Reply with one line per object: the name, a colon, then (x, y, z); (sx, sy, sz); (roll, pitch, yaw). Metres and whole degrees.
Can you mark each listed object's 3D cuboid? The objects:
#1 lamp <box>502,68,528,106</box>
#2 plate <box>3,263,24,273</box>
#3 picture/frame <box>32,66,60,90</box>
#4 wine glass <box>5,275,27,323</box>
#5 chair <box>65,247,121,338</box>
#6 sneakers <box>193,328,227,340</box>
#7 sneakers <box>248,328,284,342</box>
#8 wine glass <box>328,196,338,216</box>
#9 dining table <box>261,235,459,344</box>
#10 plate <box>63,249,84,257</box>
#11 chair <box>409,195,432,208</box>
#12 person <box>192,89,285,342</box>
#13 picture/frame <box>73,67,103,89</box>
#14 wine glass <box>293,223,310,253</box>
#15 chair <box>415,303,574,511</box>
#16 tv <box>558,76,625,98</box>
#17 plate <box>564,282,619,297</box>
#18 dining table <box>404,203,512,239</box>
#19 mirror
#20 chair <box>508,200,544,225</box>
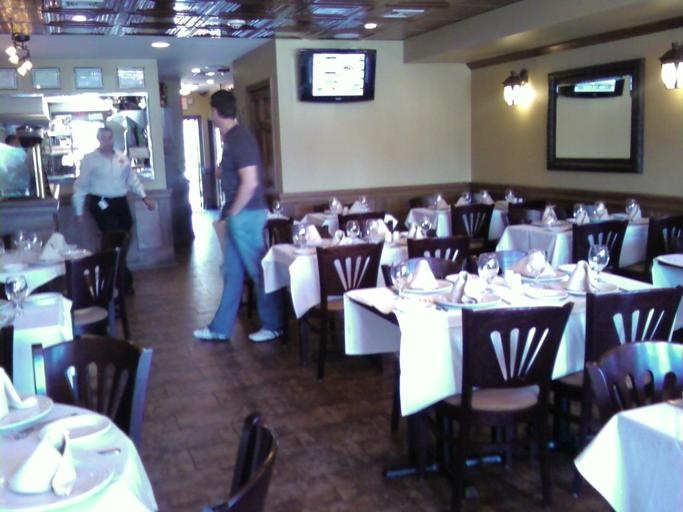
lamp: (2.249, -2.161, 7.278); (0.327, 0.547, 0.375); (1, 7, 0)
plate: (-2.282, 0.076, 3.910); (0.131, 0.031, 0.288); (-8, 12, -32)
picture/frame: (-3.945, -2.362, 7.457); (0.298, 0.284, 0.030); (0, 7, -28)
wine glass: (-1.603, 0.208, 2.783); (0.112, 0.214, 0.072); (3, -5, -18)
chair: (-1.710, 0.297, 3.904); (0.334, 0.668, 0.626); (-5, 11, -23)
sneakers: (-1.152, 0.694, 4.934); (0.271, 0.098, 0.124); (8, 9, 5)
sneakers: (-0.665, 0.695, 4.864); (0.225, 0.108, 0.121); (3, -1, -17)
wine glass: (-0.096, -0.549, 6.273); (0.144, 0.188, 0.063); (13, -19, -40)
dining table: (0.121, 0.190, 3.651); (0.738, 0.400, 0.642); (-5, 9, -29)
plate: (-2.022, -0.013, 4.259); (0.107, 0.054, 0.111); (0, -2, -18)
chair: (0.982, -0.677, 7.117); (0.186, 0.251, 0.201); (-4, 5, -22)
person: (-0.868, -0.287, 4.672); (0.674, 2.110, 0.576); (-4, 10, -16)
picture/frame: (-3.464, -2.412, 7.624); (0.286, 0.267, 0.041); (5, 4, -24)
wine glass: (-0.341, -0.143, 4.356); (0.168, 0.311, 0.184); (1, 1, -9)
chair: (0.732, 0.676, 2.591); (0.537, 0.975, 0.282); (-4, 10, -15)
tv: (2.832, -1.876, 6.387); (0.034, 0.208, 0.888); (-6, 11, -26)
plate: (1.315, 0.178, 2.897); (0.135, 0.022, 0.142); (-6, 8, 9)
dining table: (1.228, -0.471, 6.348); (0.661, 0.273, 0.650); (-5, 26, -8)
mirror: (2.901, -1.602, 6.312); (0.127, 1.292, 1.280); (-5, 10, -26)
chair: (1.855, -0.436, 5.702); (0.428, 0.346, 0.343); (2, 5, 25)
